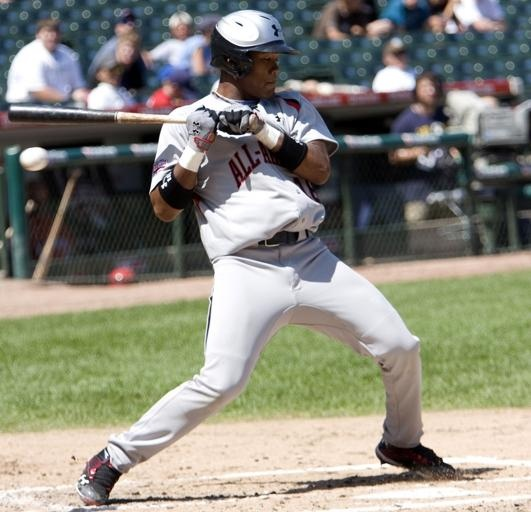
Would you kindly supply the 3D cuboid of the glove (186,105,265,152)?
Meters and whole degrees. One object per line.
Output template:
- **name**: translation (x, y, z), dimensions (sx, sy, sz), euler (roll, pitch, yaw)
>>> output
- **glove**: translation (-0.171, -0.475, 3.154), dimensions (0.212, 0.177, 0.082), euler (23, -28, 13)

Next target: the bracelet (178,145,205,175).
- **bracelet**: translation (-0.264, -0.339, 3.238), dimensions (0.088, 0.099, 0.075), euler (22, -28, 15)

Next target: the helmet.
- **helmet**: translation (-0.025, -0.810, 3.401), dimensions (0.373, 0.200, 0.229), euler (4, 30, 15)

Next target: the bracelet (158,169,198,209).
- **bracelet**: translation (-0.325, -0.246, 3.347), dimensions (0.141, 0.144, 0.065), euler (1, 26, 10)

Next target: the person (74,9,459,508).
- **person**: translation (-0.014, -0.001, 3.413), dimensions (1.344, 1.872, 0.416), euler (-1, 2, -16)

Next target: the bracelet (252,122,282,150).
- **bracelet**: translation (-0.021, -0.433, 3.277), dimensions (0.090, 0.071, 0.098), euler (17, 18, -22)

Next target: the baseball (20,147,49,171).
- **baseball**: translation (-1.226, -0.522, 4.824), dimensions (0.118, 0.129, 0.251), euler (-1, 1, -18)

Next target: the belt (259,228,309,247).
- **belt**: translation (0.057, -0.062, 3.337), dimensions (0.144, 0.064, 0.031), euler (-4, -33, 2)

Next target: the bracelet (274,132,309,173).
- **bracelet**: translation (0.086, -0.366, 3.266), dimensions (0.119, 0.140, 0.074), euler (27, 37, -15)

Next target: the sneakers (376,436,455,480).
- **sneakers**: translation (0.587, 0.810, 3.648), dimensions (0.385, 0.118, 0.112), euler (8, 1, -2)
